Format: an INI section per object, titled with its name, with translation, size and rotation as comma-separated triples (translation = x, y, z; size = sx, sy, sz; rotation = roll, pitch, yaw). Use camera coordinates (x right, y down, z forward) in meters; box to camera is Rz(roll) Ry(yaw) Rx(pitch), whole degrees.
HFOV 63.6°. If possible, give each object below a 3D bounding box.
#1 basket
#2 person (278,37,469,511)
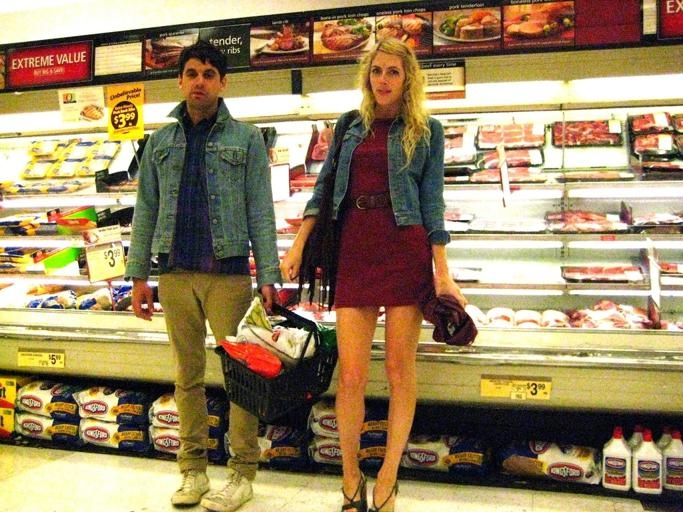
[basket]
translation = -0.350, 0.497, 2.911
size = 0.504, 0.502, 0.780
rotation = 23, 8, 32
[person]
translation = 0.146, 0.089, 2.731
size = 0.826, 2.277, 0.496
rotation = -1, 6, -6
